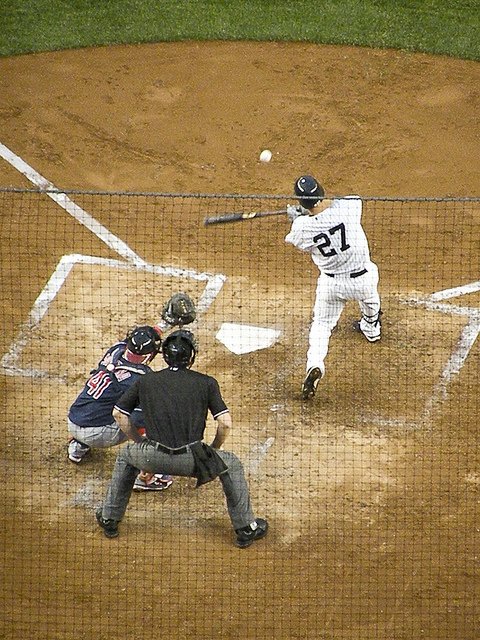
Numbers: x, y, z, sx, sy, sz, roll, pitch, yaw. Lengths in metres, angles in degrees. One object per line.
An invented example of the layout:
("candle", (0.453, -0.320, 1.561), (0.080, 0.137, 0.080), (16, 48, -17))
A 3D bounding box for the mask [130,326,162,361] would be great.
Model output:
("mask", (-0.829, 0.194, 11.693), (0.266, 0.313, 0.305), (10, 9, 8))

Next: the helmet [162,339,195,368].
("helmet", (-0.534, 0.298, 10.842), (0.278, 0.247, 0.180), (2, 45, -3))

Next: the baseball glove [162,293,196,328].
("baseball glove", (-0.627, -0.087, 12.658), (0.358, 0.349, 0.231), (-14, 49, -19))

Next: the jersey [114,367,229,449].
("jersey", (-0.556, 0.735, 10.797), (0.871, 0.687, 0.646), (-4, 18, -9))

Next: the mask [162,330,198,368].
("mask", (-0.514, 0.229, 10.904), (0.260, 0.282, 0.335), (6, 21, 3))

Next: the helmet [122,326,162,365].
("helmet", (-0.887, 0.206, 11.617), (0.303, 0.359, 0.382), (17, 49, 7))

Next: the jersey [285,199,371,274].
("jersey", (0.941, -0.877, 12.750), (0.873, 0.865, 0.432), (10, 46, 4))

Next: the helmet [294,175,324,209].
("helmet", (0.685, -1.234, 12.307), (0.283, 0.260, 0.476), (5, 44, -1))
